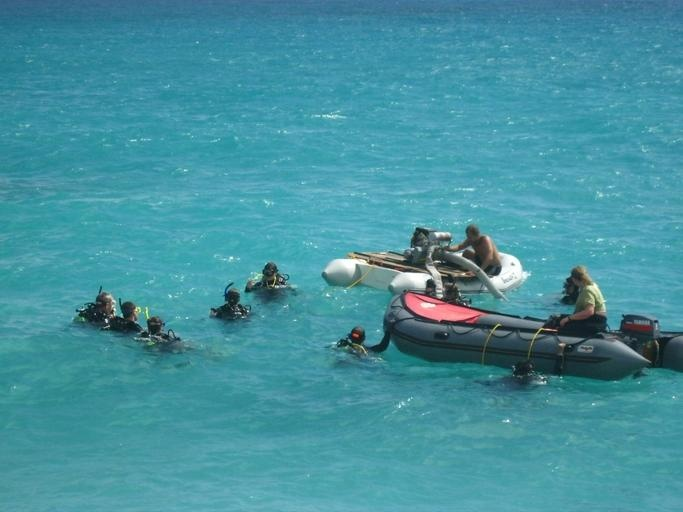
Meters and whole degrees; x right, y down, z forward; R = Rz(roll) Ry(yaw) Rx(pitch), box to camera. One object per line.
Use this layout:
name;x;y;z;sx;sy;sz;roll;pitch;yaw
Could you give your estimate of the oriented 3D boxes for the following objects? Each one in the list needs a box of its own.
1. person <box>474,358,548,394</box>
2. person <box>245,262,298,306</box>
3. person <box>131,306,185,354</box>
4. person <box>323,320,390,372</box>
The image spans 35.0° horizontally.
person;4.945;3.439;30.980;2.013;0.417;0.958;-6;15;-8
person;-2.227;0.894;34.640;1.809;0.587;1.582;1;28;0
person;-5.428;2.455;32.122;1.230;1.122;1.181;-21;54;-12
person;0.587;2.758;31.981;1.560;0.561;1.659;19;18;11
